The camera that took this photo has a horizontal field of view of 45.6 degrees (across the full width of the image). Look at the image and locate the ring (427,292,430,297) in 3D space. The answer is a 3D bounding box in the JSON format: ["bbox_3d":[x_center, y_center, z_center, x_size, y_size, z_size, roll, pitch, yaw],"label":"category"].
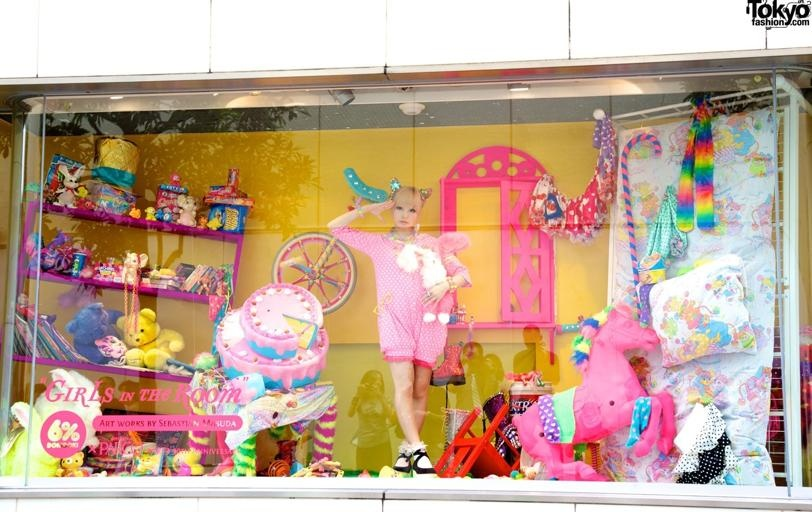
[{"bbox_3d":[0.131,0.234,5.725,0.016,0.023,0.007,6,2,-13],"label":"ring"}]

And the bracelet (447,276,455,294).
[{"bbox_3d":[0.257,0.170,5.709,0.058,0.066,0.030,-3,-11,11],"label":"bracelet"}]
